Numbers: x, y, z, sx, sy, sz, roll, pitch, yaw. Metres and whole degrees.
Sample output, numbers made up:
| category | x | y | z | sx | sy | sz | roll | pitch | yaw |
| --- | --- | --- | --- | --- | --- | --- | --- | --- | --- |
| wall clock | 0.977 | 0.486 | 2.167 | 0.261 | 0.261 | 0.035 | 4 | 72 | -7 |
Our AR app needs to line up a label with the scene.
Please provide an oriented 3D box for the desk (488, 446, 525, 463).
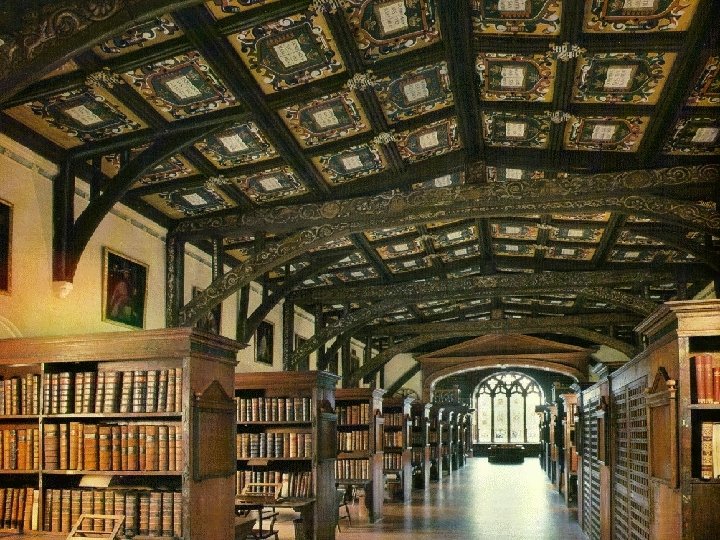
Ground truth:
| category | x | y | z | sx | sy | sz | roll | pitch | yaw |
| --- | --- | --- | --- | --- | --- | --- | --- | --- | --- |
| desk | 5.934 | 7.495 | 27.683 | 1.057 | 0.322 | 0.895 | -1 | -6 | 17 |
